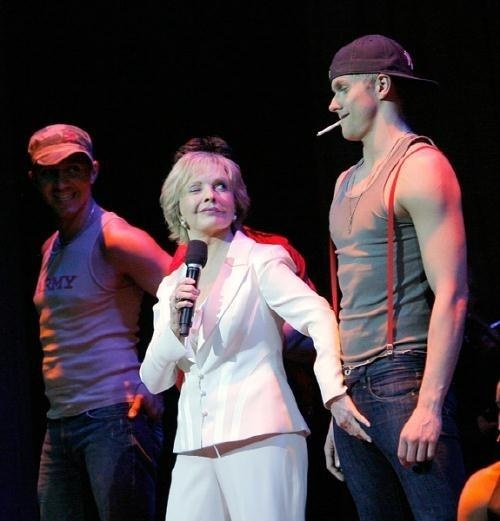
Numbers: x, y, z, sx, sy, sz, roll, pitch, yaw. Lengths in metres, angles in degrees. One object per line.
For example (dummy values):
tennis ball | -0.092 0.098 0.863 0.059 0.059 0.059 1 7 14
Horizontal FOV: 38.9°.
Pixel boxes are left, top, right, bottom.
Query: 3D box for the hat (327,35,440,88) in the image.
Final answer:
hat | 0.370 -0.572 2.100 0.246 0.111 0.167 2 2 13
